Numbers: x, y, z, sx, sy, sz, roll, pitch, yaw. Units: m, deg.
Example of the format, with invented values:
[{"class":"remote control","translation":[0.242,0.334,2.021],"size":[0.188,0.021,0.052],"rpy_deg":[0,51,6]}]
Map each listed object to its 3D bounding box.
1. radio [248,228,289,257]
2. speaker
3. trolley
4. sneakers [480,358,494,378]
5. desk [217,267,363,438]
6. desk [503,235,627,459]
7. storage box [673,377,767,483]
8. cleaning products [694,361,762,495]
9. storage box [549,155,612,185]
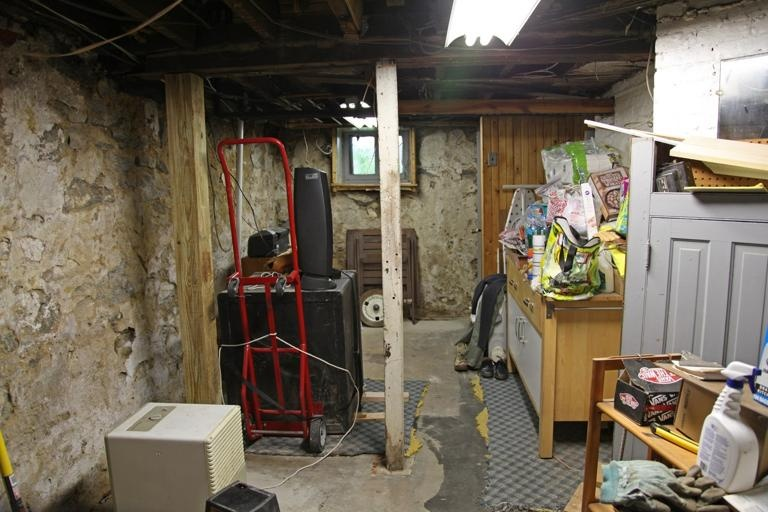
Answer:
[{"class":"radio","translation":[-1.086,-0.124,5.393],"size":[0.264,0.220,0.370],"rpy_deg":[0,3,5]},{"class":"speaker","translation":[-0.512,-0.204,4.182],"size":[0.272,0.877,0.200],"rpy_deg":[-3,8,-7]},{"class":"trolley","translation":[-0.805,0.274,4.192],"size":[0.670,2.259,0.613],"rpy_deg":[-3,8,-10]},{"class":"sneakers","translation":[0.938,1.019,5.221],"size":[0.121,0.138,0.358],"rpy_deg":[-1,-10,7]},{"class":"desk","translation":[-0.389,0.689,4.659],"size":[1.452,1.456,1.087],"rpy_deg":[-1,1,6]},{"class":"desk","translation":[1.271,0.639,3.946],"size":[0.507,0.827,1.537],"rpy_deg":[1,7,8]},{"class":"storage box","translation":[1.563,0.805,2.636],"size":[0.168,0.400,0.471],"rpy_deg":[1,4,-6]},{"class":"cleaning products","translation":[1.579,0.773,2.620],"size":[0.247,0.578,0.138],"rpy_deg":[1,8,19]},{"class":"storage box","translation":[1.728,-0.770,5.073],"size":[0.553,0.249,0.205],"rpy_deg":[0,7,16]}]
